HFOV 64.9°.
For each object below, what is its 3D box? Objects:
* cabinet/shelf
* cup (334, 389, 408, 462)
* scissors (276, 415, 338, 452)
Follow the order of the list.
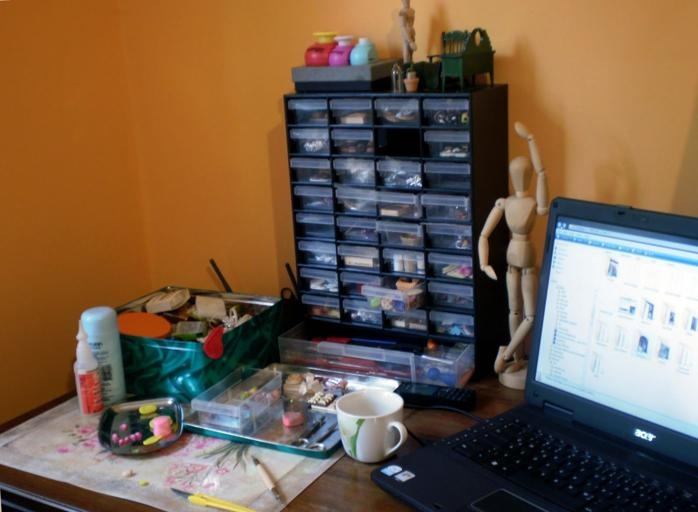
[{"bbox_3d":[0.142,-0.056,1.476,0.693,0.882,0.311,7,19,27],"label":"cabinet/shelf"},{"bbox_3d":[0.045,0.346,1.186,0.122,0.101,0.154,-15,25,-31],"label":"cup"},{"bbox_3d":[-0.094,0.400,1.233,0.067,0.013,0.116,4,15,25],"label":"scissors"}]
